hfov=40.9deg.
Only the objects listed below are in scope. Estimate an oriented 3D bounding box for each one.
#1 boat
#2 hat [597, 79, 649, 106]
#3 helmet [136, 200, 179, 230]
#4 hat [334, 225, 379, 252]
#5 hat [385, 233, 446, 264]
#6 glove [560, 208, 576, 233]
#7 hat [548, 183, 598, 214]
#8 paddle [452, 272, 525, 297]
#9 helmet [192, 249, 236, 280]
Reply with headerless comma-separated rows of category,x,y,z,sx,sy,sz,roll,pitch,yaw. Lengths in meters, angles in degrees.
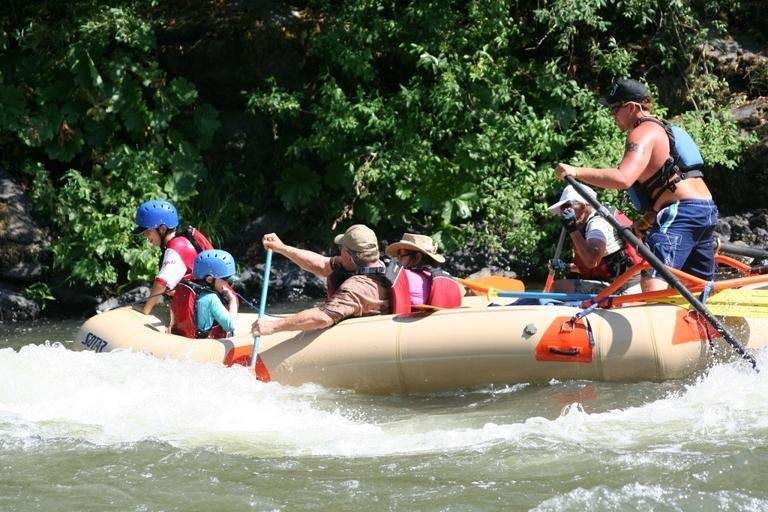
boat,0.716,0.990,11.213,4.853,0.874,2.493,-2,-6,10
hat,2.621,-1.748,11.099,0.418,0.252,0.287,4,14,17
helmet,-2.697,-0.477,12.233,0.424,0.274,0.320,5,-6,-25
hat,-0.279,-0.164,11.271,0.371,0.206,0.284,15,5,28
hat,0.379,-0.121,11.660,0.433,0.169,0.416,20,-10,-7
glove,2.055,-0.409,11.437,0.079,0.245,0.178,-1,17,24
hat,2.188,-0.667,11.880,0.483,0.277,0.388,6,0,1
paddle,1.269,0.325,12.130,0.143,0.330,0.988,-4,-9,36
helmet,-1.912,0.061,11.672,0.388,0.326,0.321,9,4,3
